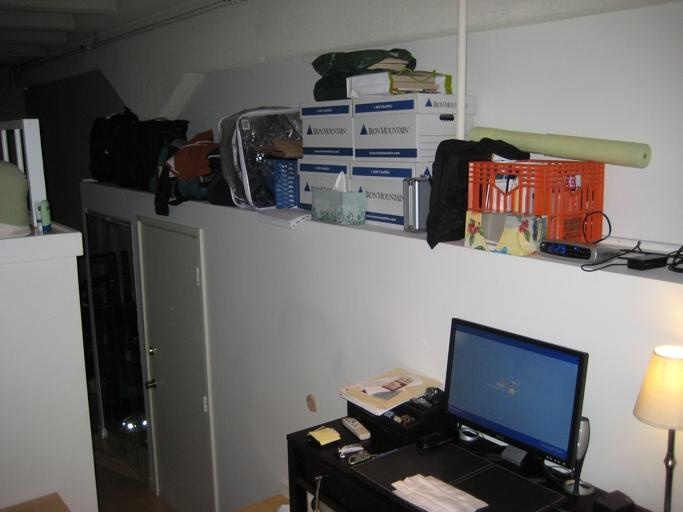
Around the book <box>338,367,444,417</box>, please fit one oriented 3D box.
[{"bbox_3d":[0.198,0.624,2.397,0.320,0.072,0.322,-8,13,-30],"label":"book"}]

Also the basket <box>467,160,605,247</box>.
[{"bbox_3d":[0.809,-0.170,2.240,0.415,0.319,0.413,-7,11,-42],"label":"basket"}]

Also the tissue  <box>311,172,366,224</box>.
[{"bbox_3d":[-0.013,-0.319,2.887,0.160,0.281,0.307,2,3,-30],"label":"tissue "}]

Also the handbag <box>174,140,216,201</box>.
[{"bbox_3d":[-1.080,-0.620,3.842,0.430,0.415,0.187,6,7,39],"label":"handbag"}]

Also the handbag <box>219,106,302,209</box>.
[{"bbox_3d":[-0.590,-0.635,3.472,0.477,0.695,0.227,-1,5,-12],"label":"handbag"}]

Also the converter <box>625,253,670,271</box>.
[{"bbox_3d":[1.121,0.021,1.941,0.184,0.052,0.099,-3,7,-40],"label":"converter"}]

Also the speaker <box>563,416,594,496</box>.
[{"bbox_3d":[0.860,0.724,1.940,0.133,0.286,0.138,0,5,12],"label":"speaker"}]

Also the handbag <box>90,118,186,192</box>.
[{"bbox_3d":[-1.941,-0.974,4.860,0.904,0.612,0.313,11,15,32],"label":"handbag"}]
